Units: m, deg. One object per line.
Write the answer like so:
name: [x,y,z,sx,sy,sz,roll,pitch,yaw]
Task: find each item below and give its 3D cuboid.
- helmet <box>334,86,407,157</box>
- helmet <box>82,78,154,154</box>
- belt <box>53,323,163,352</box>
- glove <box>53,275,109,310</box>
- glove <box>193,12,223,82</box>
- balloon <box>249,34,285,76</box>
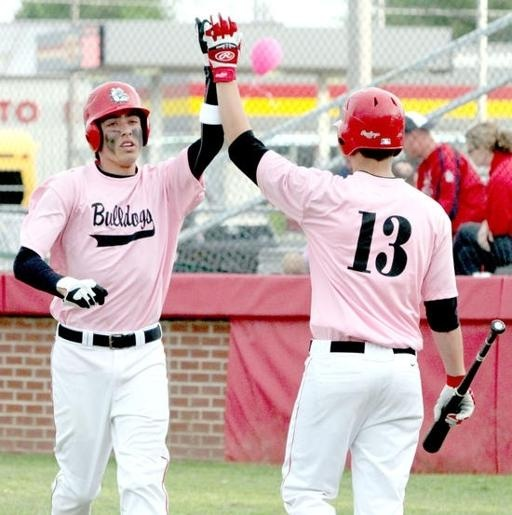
helmet: [0.554,-0.652,6.658,0.248,0.285,0.348,1,-6,-10]
helmet: [-0.748,-0.729,7.108,0.291,0.327,0.386,-2,-3,-16]
belt: [-0.767,0.405,6.913,0.531,0.113,0.191,-2,5,-9]
glove: [-0.864,0.198,6.571,0.217,0.138,0.083,18,-41,-6]
glove: [-0.268,-1.064,6.848,0.097,0.341,0.096,-15,3,-4]
balloon: [0.061,-1.654,11.222,0.251,0.330,0.309,5,-35,-7]
